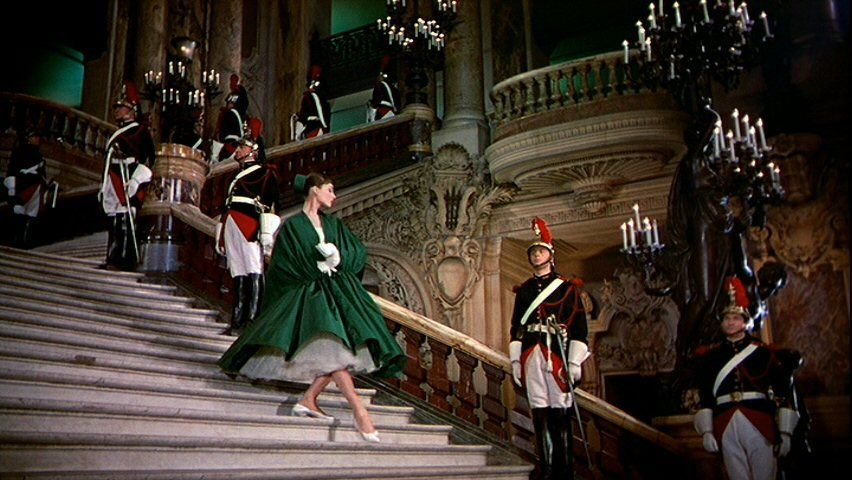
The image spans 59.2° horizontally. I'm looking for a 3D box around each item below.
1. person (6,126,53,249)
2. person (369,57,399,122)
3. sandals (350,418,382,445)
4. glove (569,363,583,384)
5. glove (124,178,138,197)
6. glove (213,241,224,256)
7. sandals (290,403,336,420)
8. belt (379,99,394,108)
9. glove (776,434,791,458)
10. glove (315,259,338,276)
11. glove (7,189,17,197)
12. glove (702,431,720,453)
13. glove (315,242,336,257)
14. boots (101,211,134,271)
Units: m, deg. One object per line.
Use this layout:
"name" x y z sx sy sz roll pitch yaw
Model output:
"person" -6.730 -0.749 12.652 0.625 1.773 0.352 5 -8 -26
"person" -0.908 -3.316 16.198 0.614 1.700 1.272 2 -7 -4
"sandals" -0.669 2.060 7.977 0.409 0.163 0.140 -2 -6 43
"glove" 1.685 1.538 8.559 0.148 0.259 0.085 7 -9 -37
"glove" -4.123 -0.730 10.541 0.176 0.246 0.062 4 -7 -19
"glove" -2.676 0.116 9.796 0.140 0.159 0.177 6 -16 -39
"sandals" -1.243 1.868 8.059 0.502 0.150 0.179 20 -10 -12
"belt" -0.840 -2.888 15.964 0.386 0.111 0.067 23 0 27
"glove" 4.030 2.326 8.494 0.140 0.269 0.179 -1 -7 24
"glove" -1.082 0.308 8.144 0.189 0.099 0.122 21 -1 16
"glove" -6.848 -0.771 12.433 0.138 0.098 0.076 1 0 15
"glove" 3.271 2.330 8.658 0.169 0.217 0.149 -1 -7 20
"glove" -1.082 0.104 8.151 0.160 0.071 0.157 2 7 -34
"boots" -4.278 0.013 10.559 0.451 0.792 0.314 4 -7 -16
